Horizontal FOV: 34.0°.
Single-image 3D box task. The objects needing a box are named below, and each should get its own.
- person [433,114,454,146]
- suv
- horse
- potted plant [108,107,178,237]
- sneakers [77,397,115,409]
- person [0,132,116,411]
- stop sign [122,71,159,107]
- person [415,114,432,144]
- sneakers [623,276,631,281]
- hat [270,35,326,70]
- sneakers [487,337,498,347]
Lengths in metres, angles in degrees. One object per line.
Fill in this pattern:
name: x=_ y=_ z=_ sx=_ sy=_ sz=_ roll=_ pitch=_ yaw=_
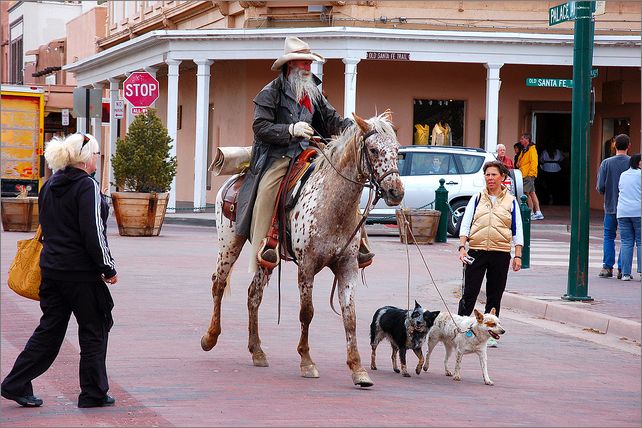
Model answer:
person: x=4.352 y=-2.861 z=37.359 sx=0.540 sy=0.772 sz=0.703 roll=10 pitch=15 yaw=36
suv: x=3.307 y=-0.724 z=29.610 sx=4.618 sy=1.941 sz=2.142 roll=2 pitch=-3 yaw=-1
horse: x=-0.315 y=0.342 z=16.400 sx=3.462 sy=4.032 sz=1.544 roll=7 pitch=13 yaw=25
potted plant: x=-4.809 y=-1.045 z=28.084 sx=1.350 sy=3.406 sz=1.944 roll=8 pitch=13 yaw=27
sneakers: x=-3.145 y=2.645 z=14.736 sx=0.479 sy=0.201 sz=0.180 roll=-2 pitch=5 yaw=-14
person: x=-3.607 y=0.831 z=14.756 sx=1.380 sy=3.740 sz=1.000 roll=-1 pitch=12 yaw=-10
stop sign: x=-4.809 y=-3.308 z=27.998 sx=0.860 sy=0.940 sz=0.599 roll=-1 pitch=12 yaw=-14
person: x=3.519 y=-2.920 z=37.539 sx=0.789 sy=1.168 sz=0.709 roll=1 pitch=4 yaw=-2
sneakers: x=6.484 y=1.369 z=22.152 sx=0.073 sy=0.086 sz=0.203 roll=0 pitch=-5 yaw=-2
hat: x=-0.414 y=-2.645 z=16.894 sx=0.880 sy=0.434 sz=0.705 roll=-6 pitch=16 yaw=4
sneakers: x=2.913 y=2.163 z=17.604 sx=0.142 sy=0.189 sz=0.419 roll=0 pitch=-5 yaw=-10
